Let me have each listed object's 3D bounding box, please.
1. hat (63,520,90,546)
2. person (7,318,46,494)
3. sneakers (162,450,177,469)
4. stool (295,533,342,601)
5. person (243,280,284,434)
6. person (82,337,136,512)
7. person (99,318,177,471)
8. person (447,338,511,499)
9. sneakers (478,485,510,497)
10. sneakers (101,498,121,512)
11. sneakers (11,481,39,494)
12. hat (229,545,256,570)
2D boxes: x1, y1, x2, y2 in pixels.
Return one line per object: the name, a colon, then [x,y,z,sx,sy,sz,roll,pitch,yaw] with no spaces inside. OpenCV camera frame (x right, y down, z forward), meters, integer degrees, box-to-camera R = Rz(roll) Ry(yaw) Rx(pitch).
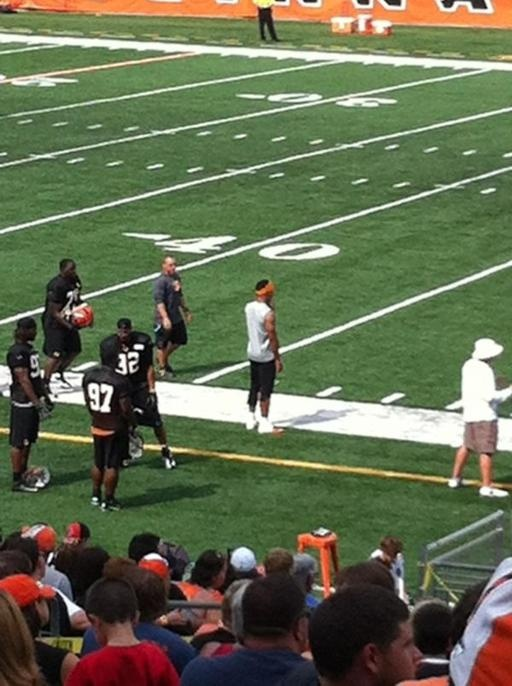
hat: [-1.140,1.193,9.909,0.101,0.084,0.148,6,14,6]
person: [-1.863,0.495,12.751,0.310,1.372,0.492,-1,11,-8]
sneakers: [-0.731,0.972,13.371,0.078,0.087,0.209,-9,26,-22]
stool: [0.479,1.485,10.734,0.230,0.307,0.252,-10,4,-41]
person: [0.072,0.102,14.326,0.329,1.359,0.641,1,10,-1]
person: [-1.149,0.753,12.188,0.492,1.139,0.268,10,14,41]
person: [-1.035,0.445,13.264,0.640,1.321,0.546,-7,18,-6]
person: [1.823,0.573,12.706,0.479,1.217,0.636,2,11,7]
sneakers: [1.919,1.164,12.610,0.237,0.088,0.257,2,10,7]
sneakers: [-1.142,1.249,12.338,0.074,0.087,0.184,6,9,18]
sneakers: [-1.881,1.152,12.747,0.226,0.151,0.075,-1,18,-6]
hat: [-0.077,1.248,9.151,0.108,0.084,0.159,3,21,2]
